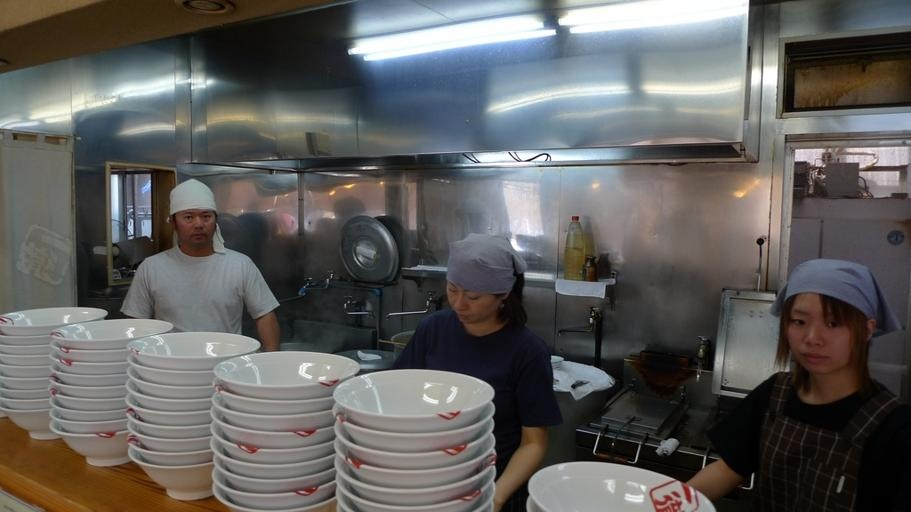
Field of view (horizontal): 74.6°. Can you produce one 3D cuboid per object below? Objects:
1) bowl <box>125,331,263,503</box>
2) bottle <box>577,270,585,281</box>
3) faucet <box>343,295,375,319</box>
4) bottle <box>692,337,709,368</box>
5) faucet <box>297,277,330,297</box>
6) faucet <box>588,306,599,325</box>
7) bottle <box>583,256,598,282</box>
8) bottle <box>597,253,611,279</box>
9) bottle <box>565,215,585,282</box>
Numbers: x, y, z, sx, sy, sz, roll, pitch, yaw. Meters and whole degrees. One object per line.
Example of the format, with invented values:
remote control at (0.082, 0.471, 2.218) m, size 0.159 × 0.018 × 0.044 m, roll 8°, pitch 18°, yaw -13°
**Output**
bowl at (-1.039, 0.639, 2.581) m, size 0.684 × 0.602 × 0.618 m, roll 5°, pitch 3°, yaw -8°
bottle at (0.820, 0.121, 3.869) m, size 0.017 × 0.052 × 0.063 m, roll 7°, pitch -3°, yaw -15°
faucet at (-0.751, 0.396, 4.678) m, size 0.227 × 0.140 × 0.111 m, roll 0°, pitch 2°, yaw -2°
bottle at (1.517, 0.586, 3.664) m, size 0.068 × 0.161 × 0.137 m, roll 7°, pitch 3°, yaw 26°
faucet at (-1.148, 0.251, 4.859) m, size 0.284 × 0.085 × 0.141 m, roll -2°, pitch 2°, yaw -17°
faucet at (0.917, 0.385, 3.926) m, size 0.057 × 0.109 × 0.048 m, roll 0°, pitch 5°, yaw 12°
bottle at (0.866, 0.077, 3.853) m, size 0.071 × 0.154 × 0.121 m, roll 1°, pitch 5°, yaw 22°
bottle at (0.983, 0.060, 3.958) m, size 0.079 × 0.159 × 0.026 m, roll 2°, pitch 6°, yaw 27°
bottle at (0.786, -0.060, 3.929) m, size 0.133 × 0.409 × 0.190 m, roll 0°, pitch 5°, yaw 11°
